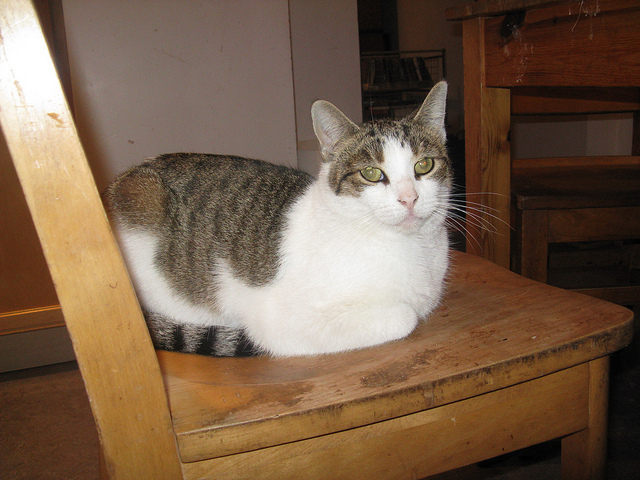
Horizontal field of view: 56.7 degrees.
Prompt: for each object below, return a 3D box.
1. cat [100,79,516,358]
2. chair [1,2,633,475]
[{"bbox_3d":[-0.074,-0.065,1.405,1.085,0.512,0.421,6,25,26],"label":"cat"},{"bbox_3d":[-0.041,-0.064,1.640,1.056,1.420,0.838,-9,26,-13],"label":"chair"}]
